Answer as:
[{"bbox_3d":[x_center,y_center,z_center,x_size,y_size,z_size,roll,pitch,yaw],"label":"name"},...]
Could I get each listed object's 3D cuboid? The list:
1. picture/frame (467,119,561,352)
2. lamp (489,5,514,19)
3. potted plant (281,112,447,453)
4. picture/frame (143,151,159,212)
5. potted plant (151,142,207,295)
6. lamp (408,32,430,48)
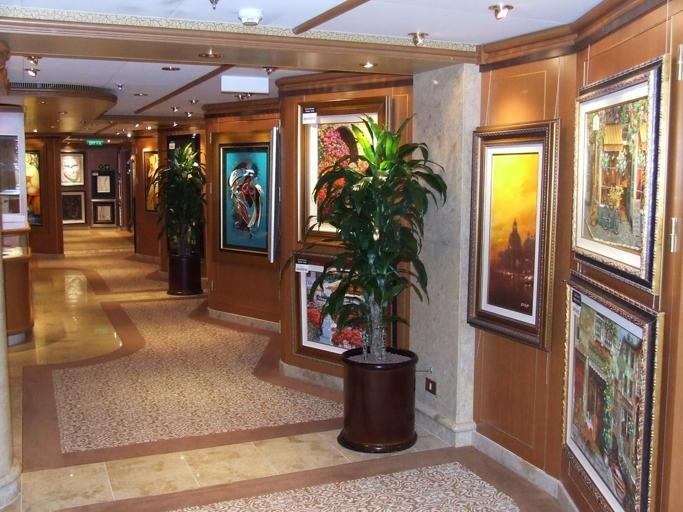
[{"bbox_3d":[1.228,-0.165,3.576,0.103,1.536,0.745,-5,9,-29],"label":"picture/frame"},{"bbox_3d":[0.915,-1.414,2.817,0.104,0.041,0.103,1,-5,6],"label":"lamp"},{"bbox_3d":[0.246,0.168,4.265,1.114,2.813,1.381,-2,8,-11],"label":"potted plant"},{"bbox_3d":[-4.664,-1.879,12.064,0.088,2.183,1.670,2,1,-28],"label":"picture/frame"},{"bbox_3d":[-3.167,-0.765,9.707,0.934,2.994,1.397,-3,9,-21],"label":"potted plant"},{"bbox_3d":[0.563,-1.545,3.522,0.117,0.070,0.104,2,-2,5],"label":"lamp"}]
